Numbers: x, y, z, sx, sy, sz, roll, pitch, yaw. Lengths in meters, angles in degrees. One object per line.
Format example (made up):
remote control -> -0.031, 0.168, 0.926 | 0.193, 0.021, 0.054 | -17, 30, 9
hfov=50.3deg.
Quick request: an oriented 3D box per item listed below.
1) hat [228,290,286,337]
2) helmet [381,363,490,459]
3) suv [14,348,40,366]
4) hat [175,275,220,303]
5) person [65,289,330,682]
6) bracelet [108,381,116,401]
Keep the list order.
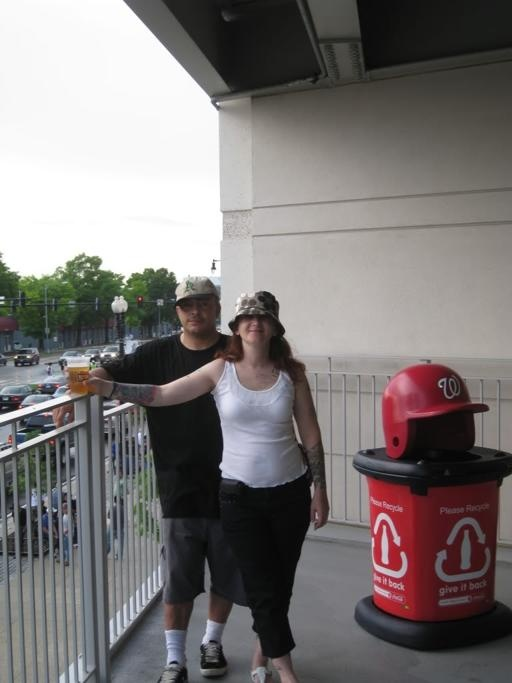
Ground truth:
hat -> 0.006, -0.150, 2.216 | 0.151, 0.097, 0.191 | 8, 7, 24
helmet -> 0.810, 0.313, 2.521 | 0.395, 0.422, 0.502 | 0, -6, -36
suv -> -19.269, 1.334, 45.493 | 1.229, 1.617, 2.123 | -1, -3, 10
hat -> -0.266, -0.235, 2.441 | 0.115, 0.079, 0.152 | -4, -9, 3
person -> -0.074, 0.544, 2.167 | 0.761, 1.488, 0.363 | 0, -3, -2
bracelet -> -0.582, 0.202, 2.210 | 0.023, 0.057, 0.051 | 5, -10, -21
